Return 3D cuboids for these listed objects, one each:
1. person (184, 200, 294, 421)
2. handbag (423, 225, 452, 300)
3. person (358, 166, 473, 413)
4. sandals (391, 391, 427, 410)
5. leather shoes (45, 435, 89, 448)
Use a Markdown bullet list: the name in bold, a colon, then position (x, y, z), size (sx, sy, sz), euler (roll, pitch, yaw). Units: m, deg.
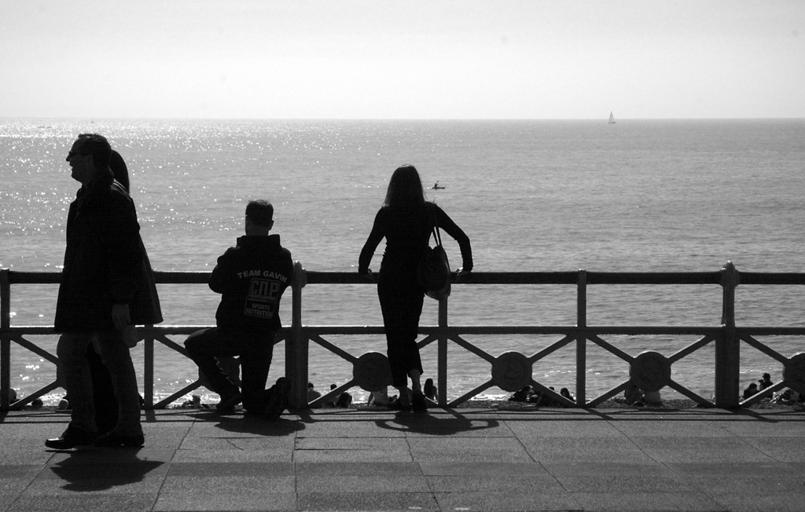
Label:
- **person**: position (-1.940, 0.623, 17.186), size (1.267, 2.622, 0.672), euler (-5, 15, -16)
- **handbag**: position (0.452, 0.091, 17.530), size (0.326, 0.954, 0.478), euler (0, 14, 3)
- **person**: position (0.108, 0.332, 17.675), size (0.933, 3.042, 1.008), euler (11, 19, 38)
- **sandals**: position (0.029, 1.819, 17.554), size (0.543, 0.184, 0.171), euler (1, -22, -4)
- **leather shoes**: position (-3.887, 2.150, 16.353), size (0.545, 0.172, 0.178), euler (1, 6, -1)
